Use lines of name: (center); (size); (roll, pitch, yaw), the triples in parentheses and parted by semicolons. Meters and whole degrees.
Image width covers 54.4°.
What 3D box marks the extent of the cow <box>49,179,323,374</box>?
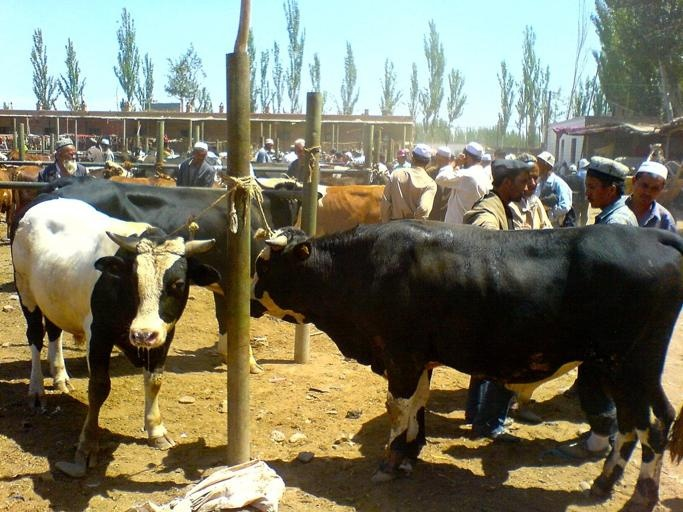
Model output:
cow: (-1.198, -0.109, 8.002); (3.673, 2.355, 1.339); (3, 8, 0)

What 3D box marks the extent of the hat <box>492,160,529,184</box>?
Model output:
hat: (1.518, -0.801, 6.113); (0.231, 0.078, 0.245); (-28, 22, -25)
